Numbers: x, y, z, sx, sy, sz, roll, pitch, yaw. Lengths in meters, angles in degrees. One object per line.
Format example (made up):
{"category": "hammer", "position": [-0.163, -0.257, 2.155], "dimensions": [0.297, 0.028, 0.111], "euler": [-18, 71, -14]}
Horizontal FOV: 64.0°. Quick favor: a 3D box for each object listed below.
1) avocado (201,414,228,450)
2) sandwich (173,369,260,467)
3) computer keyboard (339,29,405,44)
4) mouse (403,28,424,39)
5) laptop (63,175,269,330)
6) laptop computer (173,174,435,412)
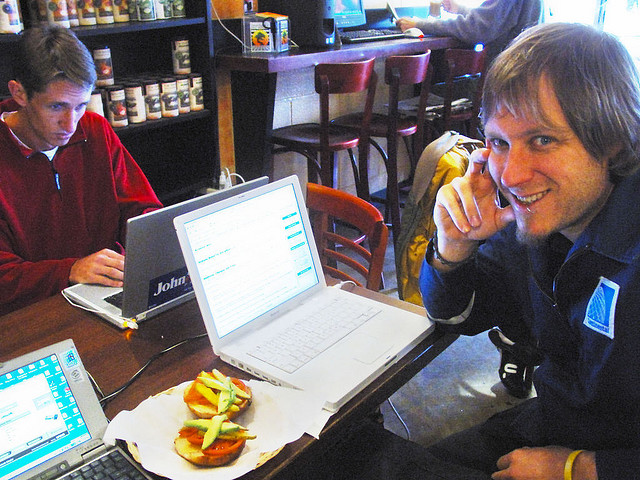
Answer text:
{"category": "avocado", "position": [-0.220, 0.391, 1.049], "dimensions": [0.022, 0.016, 0.074], "euler": [13, 28, 8]}
{"category": "sandwich", "position": [-0.231, 0.379, 1.121], "dimensions": [0.159, 0.058, 0.244], "euler": [2, 29, -9]}
{"category": "computer keyboard", "position": [0.378, -1.472, 3.679], "dimensions": [0.365, 0.074, 0.667], "euler": [7, 27, 24]}
{"category": "mouse", "position": [0.685, -1.520, 3.743], "dimensions": [0.139, 0.046, 0.086], "euler": [20, 52, 34]}
{"category": "laptop", "position": [-0.495, 0.026, 1.579], "dimensions": [0.346, 0.299, 0.486], "euler": [13, 17, 33]}
{"category": "laptop computer", "position": [-0.029, 0.101, 1.334], "dimensions": [0.465, 0.406, 0.482], "euler": [17, 33, 39]}
